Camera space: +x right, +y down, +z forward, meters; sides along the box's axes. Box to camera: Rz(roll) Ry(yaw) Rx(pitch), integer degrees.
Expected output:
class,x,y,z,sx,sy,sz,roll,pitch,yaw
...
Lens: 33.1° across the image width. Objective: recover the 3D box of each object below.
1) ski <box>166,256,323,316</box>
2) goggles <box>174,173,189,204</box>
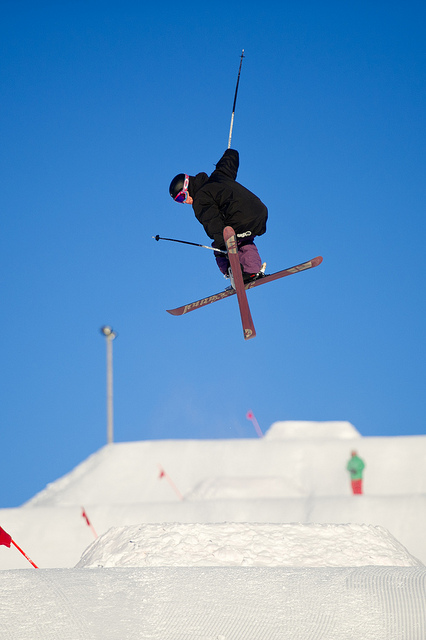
class,x,y,z,sx,sy,sz,roll,pitch,yaw
ski,0.313,-0.363,6.280,1.575,0.157,0.217,-19,-14,-8
goggles,-0.276,-1.193,6.490,0.170,0.242,0.135,-2,5,30
